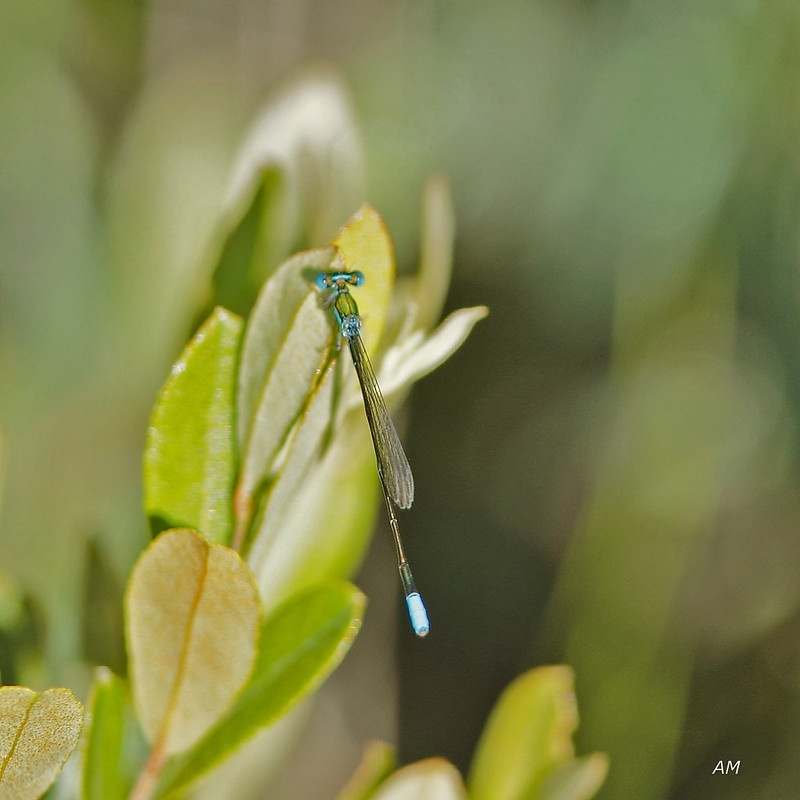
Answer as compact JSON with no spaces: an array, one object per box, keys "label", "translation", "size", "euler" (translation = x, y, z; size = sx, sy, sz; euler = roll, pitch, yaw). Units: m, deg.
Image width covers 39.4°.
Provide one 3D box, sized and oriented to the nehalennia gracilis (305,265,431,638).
[{"label":"nehalennia gracilis","translation":[-0.036,0.016,1.409],"size":[0.098,0.082,0.619],"euler":[-7,96,-7]}]
